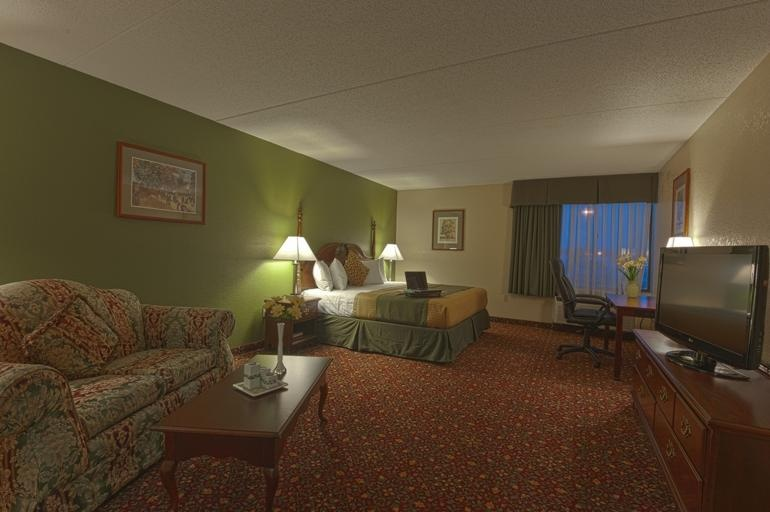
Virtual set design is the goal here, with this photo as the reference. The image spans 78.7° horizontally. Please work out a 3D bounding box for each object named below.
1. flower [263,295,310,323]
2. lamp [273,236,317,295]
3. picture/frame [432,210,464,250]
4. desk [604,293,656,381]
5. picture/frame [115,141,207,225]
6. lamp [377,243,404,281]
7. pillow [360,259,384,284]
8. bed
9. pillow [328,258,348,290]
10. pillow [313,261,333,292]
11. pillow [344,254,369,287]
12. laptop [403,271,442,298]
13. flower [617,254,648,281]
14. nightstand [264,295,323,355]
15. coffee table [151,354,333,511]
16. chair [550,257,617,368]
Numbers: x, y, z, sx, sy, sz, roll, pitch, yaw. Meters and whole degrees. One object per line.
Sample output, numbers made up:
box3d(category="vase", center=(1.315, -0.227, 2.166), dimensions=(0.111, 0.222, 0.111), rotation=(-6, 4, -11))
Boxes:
box3d(category="flower", center=(-0.973, 0.524, 4.578), dimensions=(0.433, 0.273, 0.455), rotation=(1, 1, 28))
box3d(category="lamp", center=(-1.206, 0.144, 6.325), dimensions=(0.582, 0.823, 0.569), rotation=(2, 2, -5))
box3d(category="picture/frame", center=(1.191, -0.481, 8.703), dimensions=(0.755, 0.928, 0.063), rotation=(0, 0, 31))
box3d(category="desk", center=(2.779, 0.921, 5.348), dimensions=(0.352, 0.464, 0.945), rotation=(1, 1, 19))
box3d(category="picture/frame", center=(-2.402, -0.768, 4.952), dimensions=(0.041, 0.792, 1.000), rotation=(-4, -5, 39))
box3d(category="lamp", center=(0.110, 0.167, 8.693), dimensions=(0.427, 0.766, 0.435), rotation=(11, 13, 25))
box3d(category="pillow", center=(-0.159, 0.250, 7.469), dimensions=(0.132, 0.343, 0.471), rotation=(-8, -2, 27))
box3d(category="bed", center=(0.095, 0.708, 6.650), dimensions=(2.062, 1.283, 2.136), rotation=(0, 2, 25))
box3d(category="pillow", center=(-0.642, 0.276, 6.790), dimensions=(0.113, 0.367, 0.397), rotation=(-18, -23, 15))
box3d(category="pillow", center=(-0.889, 0.300, 6.643), dimensions=(0.171, 0.262, 0.332), rotation=(4, 41, 0))
box3d(category="pillow", center=(-0.456, 0.319, 7.288), dimensions=(0.139, 0.570, 0.581), rotation=(18, 5, 27))
box3d(category="laptop", center=(0.487, 0.403, 6.335), dimensions=(0.340, 0.298, 0.449), rotation=(-3, -1, 14))
box3d(category="flower", center=(3.570, 0.153, 6.739), dimensions=(0.401, 0.404, 0.405), rotation=(0, -2, 8))
box3d(category="nightstand", center=(-1.226, 0.898, 6.175), dimensions=(0.493, 0.619, 0.643), rotation=(-1, 0, 27))
box3d(category="coffee table", center=(-1.024, 1.364, 3.738), dimensions=(0.862, 0.742, 1.259), rotation=(3, 14, 13))
box3d(category="chair", center=(2.632, 0.704, 6.169), dimensions=(0.848, 1.296, 0.811), rotation=(2, 1, 20))
